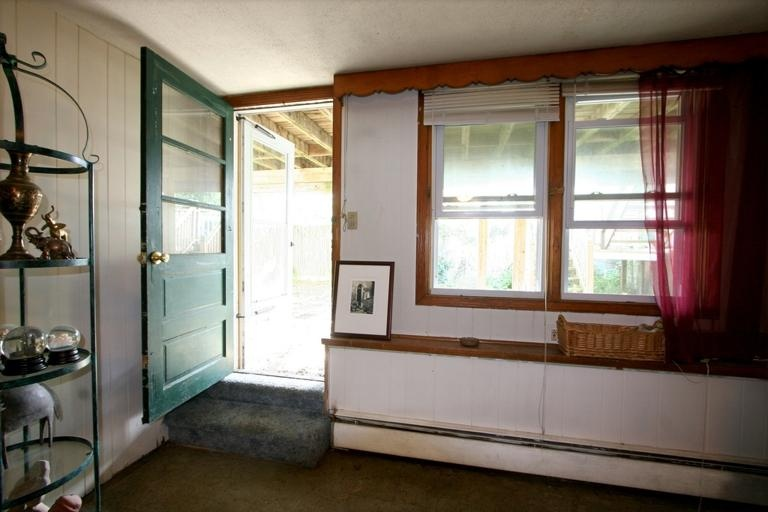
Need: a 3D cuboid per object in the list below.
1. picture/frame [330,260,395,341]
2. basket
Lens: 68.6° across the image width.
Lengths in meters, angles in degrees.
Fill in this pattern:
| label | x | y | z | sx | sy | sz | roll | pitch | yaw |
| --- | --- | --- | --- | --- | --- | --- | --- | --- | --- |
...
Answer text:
| label | x | y | z | sx | sy | sz | roll | pitch | yaw |
| --- | --- | --- | --- | --- | --- | --- | --- | --- | --- |
| picture/frame | -0.159 | 0.358 | 4.343 | 0.629 | 0.678 | 0.050 | 2 | -7 | 8 |
| basket | 1.620 | 0.572 | 3.985 | 0.565 | 0.229 | 0.307 | -1 | -2 | 13 |
